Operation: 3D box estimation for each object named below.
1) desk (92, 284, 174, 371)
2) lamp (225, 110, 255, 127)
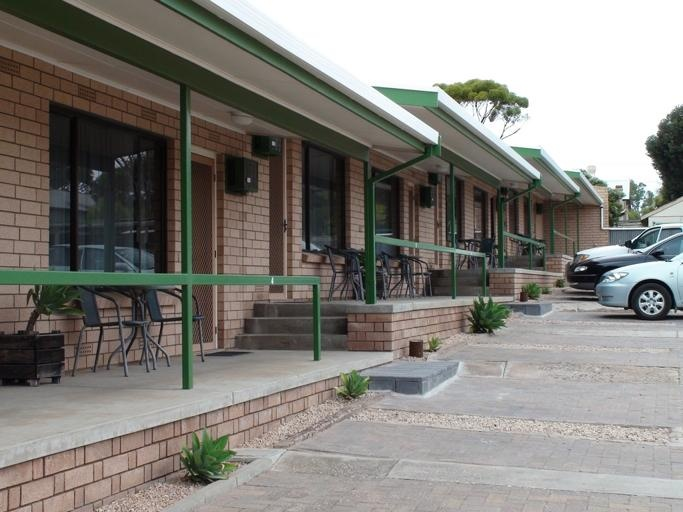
[{"bbox_3d":[-2.423,0.799,6.264,0.877,0.962,0.592,-2,-5,-10],"label":"desk"},{"bbox_3d":[-1.338,-1.827,7.260,0.440,0.202,0.403,1,5,-3],"label":"lamp"}]
